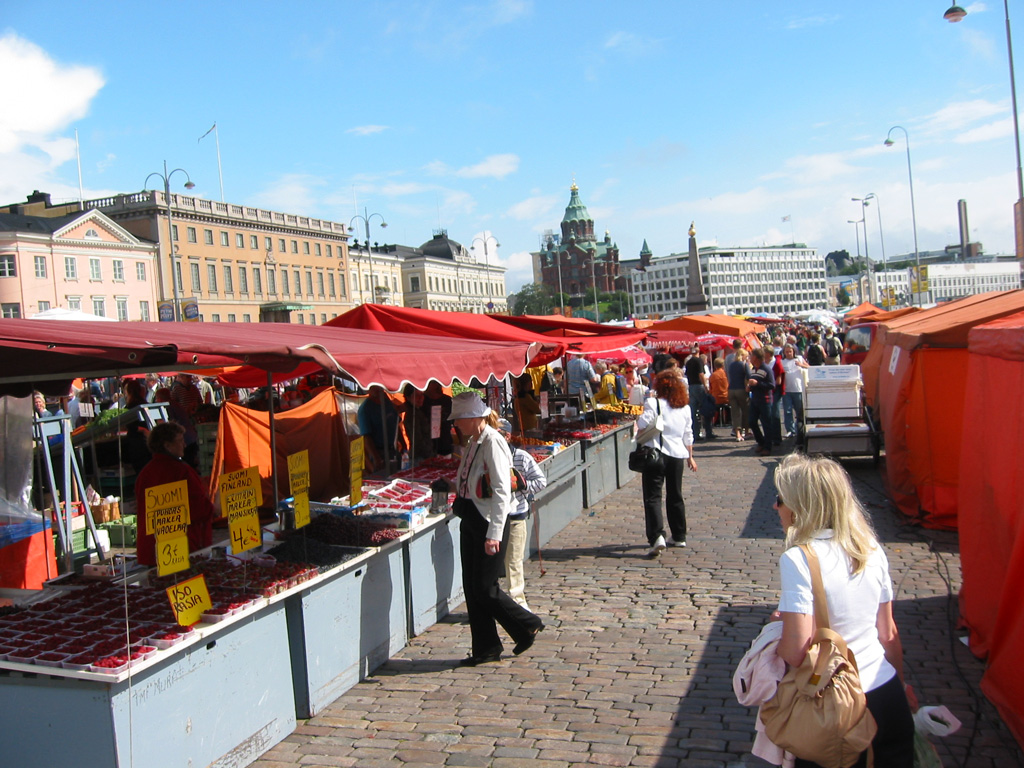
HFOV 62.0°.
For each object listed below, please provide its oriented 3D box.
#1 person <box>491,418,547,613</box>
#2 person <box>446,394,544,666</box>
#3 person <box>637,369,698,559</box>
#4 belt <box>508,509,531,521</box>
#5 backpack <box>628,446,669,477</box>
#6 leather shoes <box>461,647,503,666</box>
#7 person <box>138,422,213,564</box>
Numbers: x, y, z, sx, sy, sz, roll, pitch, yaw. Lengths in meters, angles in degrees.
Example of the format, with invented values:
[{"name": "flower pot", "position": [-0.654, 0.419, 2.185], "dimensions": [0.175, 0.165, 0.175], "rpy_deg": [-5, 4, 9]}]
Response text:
[{"name": "person", "position": [0.003, 1.252, 7.928], "dimensions": [0.525, 1.779, 0.599], "rpy_deg": [4, 9, 21]}, {"name": "person", "position": [-0.213, 1.215, 7.525], "dimensions": [0.911, 2.107, 0.690], "rpy_deg": [-1, 1, -40]}, {"name": "person", "position": [1.832, 0.848, 10.071], "dimensions": [0.704, 2.218, 0.614], "rpy_deg": [1, 3, 8]}, {"name": "belt", "position": [0.067, 1.168, 7.705], "dimensions": [0.231, 0.125, 0.334], "rpy_deg": [-5, -7, 3]}, {"name": "backpack", "position": [1.584, 0.877, 9.836], "dimensions": [0.401, 0.297, 0.297], "rpy_deg": [4, -9, -33]}, {"name": "leather shoes", "position": [-0.240, 2.285, 7.201], "dimensions": [0.335, 0.163, 0.119], "rpy_deg": [5, -8, -6]}, {"name": "person", "position": [-2.924, 0.841, 7.310], "dimensions": [0.596, 1.607, 0.576], "rpy_deg": [4, 7, 14]}]
